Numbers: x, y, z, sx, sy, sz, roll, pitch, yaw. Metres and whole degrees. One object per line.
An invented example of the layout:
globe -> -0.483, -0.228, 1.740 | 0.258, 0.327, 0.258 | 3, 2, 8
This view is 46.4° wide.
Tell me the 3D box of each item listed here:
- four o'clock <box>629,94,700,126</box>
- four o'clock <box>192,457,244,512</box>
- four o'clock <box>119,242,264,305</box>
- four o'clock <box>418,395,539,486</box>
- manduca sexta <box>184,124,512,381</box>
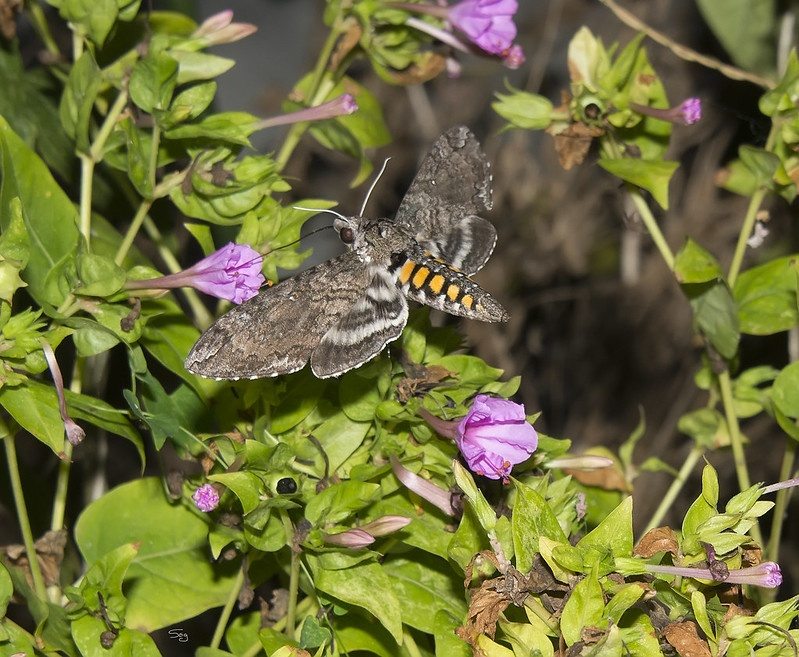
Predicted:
four o'clock -> 0.416, -0.359, 1.513 | 0.130, 0.045, 0.041 | 8, 96, 29
four o'clock -> -0.273, 0.215, 1.404 | 0.079, 0.077, 0.091 | -6, 101, -14
four o'clock -> -0.310, -0.080, 1.388 | 0.173, 0.086, 0.099 | -9, 30, -5
four o'clock -> 0.132, 0.148, 1.289 | 0.103, 0.052, 0.104 | -40, 80, -12
manduca sexta -> -0.087, -0.064, 1.519 | 0.373, 0.110, 0.663 | 38, 55, 5
